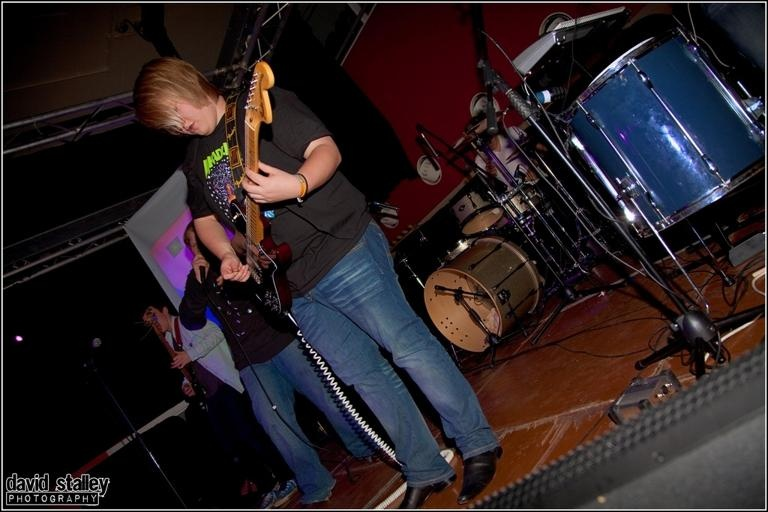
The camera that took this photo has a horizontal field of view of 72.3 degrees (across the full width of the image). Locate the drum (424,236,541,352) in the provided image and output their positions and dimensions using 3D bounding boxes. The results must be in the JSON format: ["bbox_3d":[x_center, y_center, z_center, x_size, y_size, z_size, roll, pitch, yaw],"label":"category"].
[{"bbox_3d":[1.138,0.435,5.803,0.807,1.095,0.978,-33,24,-32],"label":"drum"}]

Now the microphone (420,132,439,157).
[{"bbox_3d":[0.600,-1.535,7.205,0.092,0.354,0.236,-43,36,-8],"label":"microphone"}]

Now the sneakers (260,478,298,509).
[{"bbox_3d":[-0.973,2.208,4.877,0.536,0.212,0.208,-35,32,40],"label":"sneakers"}]

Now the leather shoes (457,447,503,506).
[{"bbox_3d":[0.661,1.506,3.717,0.456,0.181,0.152,-41,8,-34],"label":"leather shoes"}]

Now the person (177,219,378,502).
[{"bbox_3d":[-0.950,0.969,4.754,0.464,3.220,1.265,-24,-25,-39],"label":"person"}]

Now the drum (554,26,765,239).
[{"bbox_3d":[2.575,-0.989,5.100,1.596,1.642,1.631,-4,-41,-36],"label":"drum"}]

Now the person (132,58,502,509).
[{"bbox_3d":[-0.495,0.104,3.934,1.173,3.407,0.840,-31,-9,-6],"label":"person"}]

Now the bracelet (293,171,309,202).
[{"bbox_3d":[-0.582,-0.476,3.695,0.046,0.177,0.127,-6,18,-36],"label":"bracelet"}]

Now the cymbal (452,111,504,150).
[{"bbox_3d":[1.048,-1.467,5.972,0.632,0.190,0.510,-45,-11,14],"label":"cymbal"}]
